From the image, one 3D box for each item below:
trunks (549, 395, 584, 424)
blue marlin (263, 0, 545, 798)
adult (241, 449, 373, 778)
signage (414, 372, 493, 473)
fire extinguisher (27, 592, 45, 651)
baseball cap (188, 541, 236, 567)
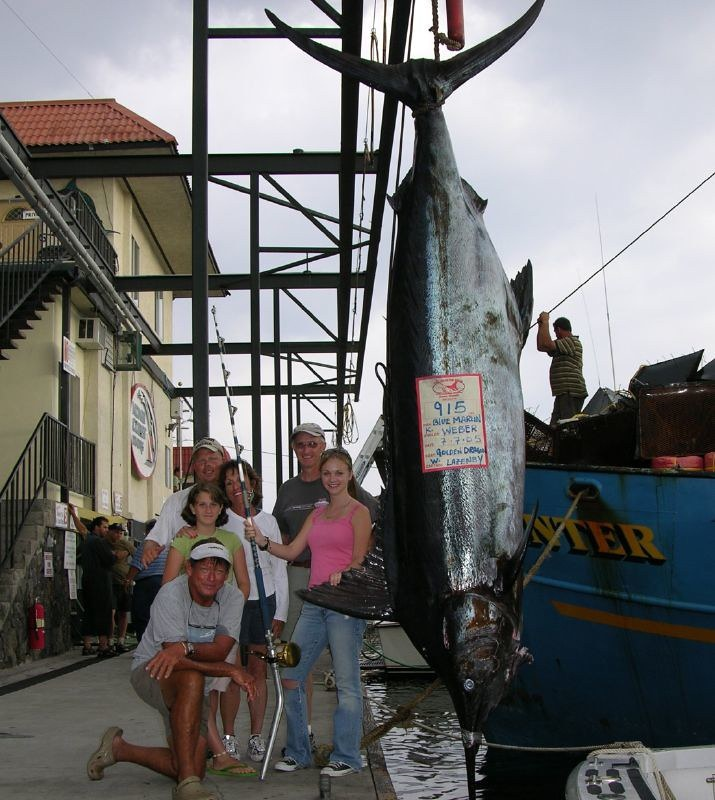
[{"bbox_3d":[1.590,0.065,7.037,0.118,0.351,0.167,20,-11,-7],"label":"trunks"},{"bbox_3d":[0.269,-0.025,2.730,0.627,2.235,0.376,-3,-9,-1],"label":"blue marlin"},{"bbox_3d":[-0.313,1.042,4.584,0.734,1.604,0.686,-1,-8,14],"label":"adult"},{"bbox_3d":[0.279,0.069,2.628,0.279,0.361,0.040,-4,-6,10],"label":"signage"},{"bbox_3d":[-3.826,2.759,11.324,0.133,0.586,0.525,-1,-9,-12],"label":"fire extinguisher"},{"bbox_3d":[-0.650,0.684,4.165,0.172,0.082,0.230,2,-13,-8],"label":"baseball cap"}]
